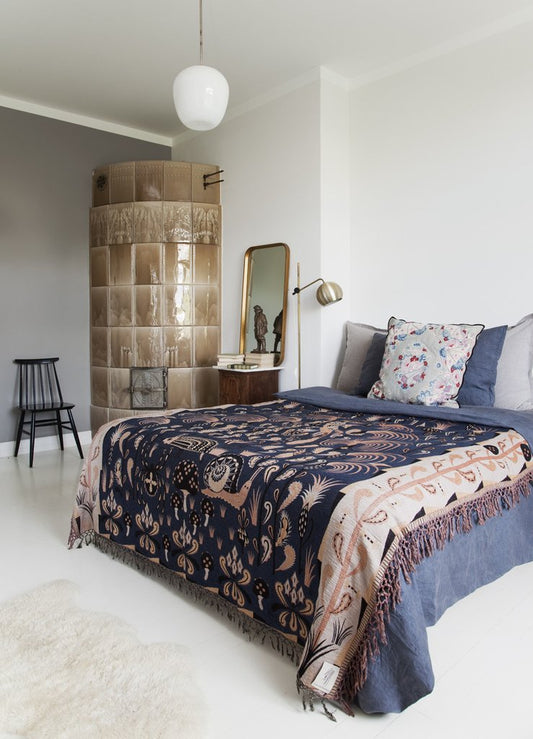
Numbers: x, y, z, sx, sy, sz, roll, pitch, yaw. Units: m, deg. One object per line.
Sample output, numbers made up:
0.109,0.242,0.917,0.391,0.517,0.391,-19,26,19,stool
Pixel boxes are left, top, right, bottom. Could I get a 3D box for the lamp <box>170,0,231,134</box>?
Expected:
-0.272,-1.088,2.310,0.201,0.213,0.179,2,5,37,lamp
